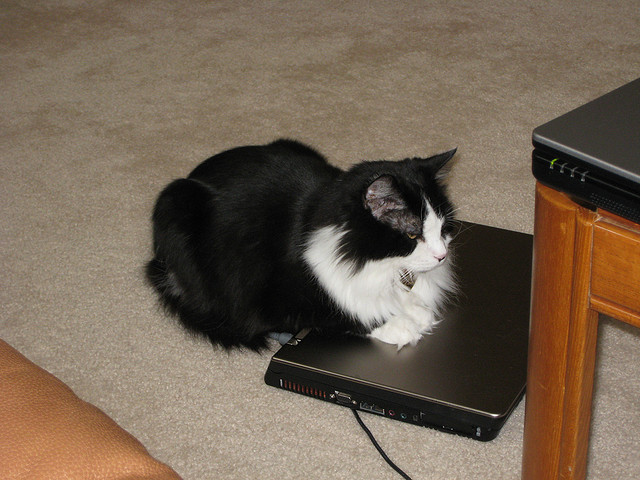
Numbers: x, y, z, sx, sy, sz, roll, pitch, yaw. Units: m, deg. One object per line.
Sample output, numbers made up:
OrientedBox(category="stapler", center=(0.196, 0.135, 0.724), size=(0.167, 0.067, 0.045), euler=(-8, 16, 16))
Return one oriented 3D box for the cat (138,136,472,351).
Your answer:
OrientedBox(category="cat", center=(-0.062, 0.007, 1.791), size=(0.664, 0.408, 0.533), euler=(26, 46, 20))
